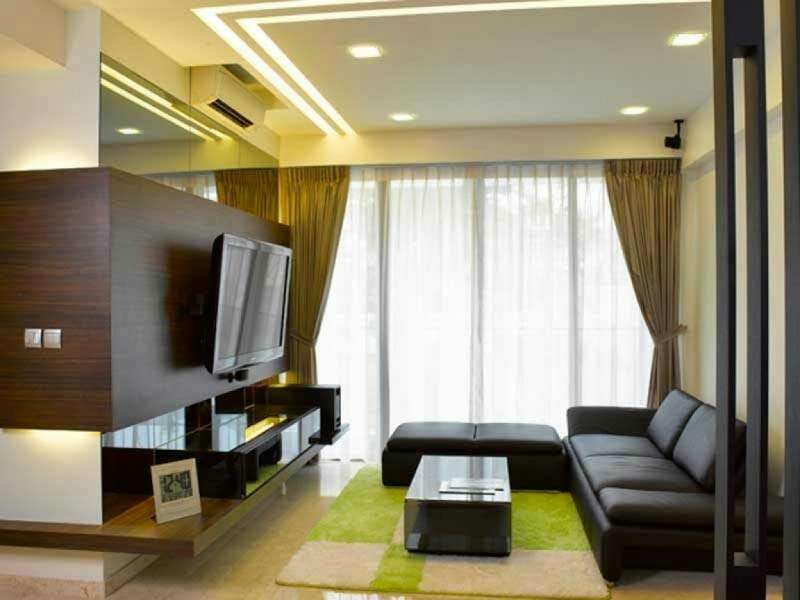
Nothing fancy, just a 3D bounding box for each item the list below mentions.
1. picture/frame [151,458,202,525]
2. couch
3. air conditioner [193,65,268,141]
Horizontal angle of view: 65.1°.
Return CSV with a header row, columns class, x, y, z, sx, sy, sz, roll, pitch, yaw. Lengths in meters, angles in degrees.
class,x,y,z,sx,sy,sz,roll,pitch,yaw
picture/frame,-1.354,1.161,3.779,0.025,0.372,0.305,-20,-12,36
couch,1.777,1.179,4.592,0.964,0.818,2.013,0,4,8
air conditioner,-1.335,-1.537,4.898,0.207,0.298,0.919,6,3,7
